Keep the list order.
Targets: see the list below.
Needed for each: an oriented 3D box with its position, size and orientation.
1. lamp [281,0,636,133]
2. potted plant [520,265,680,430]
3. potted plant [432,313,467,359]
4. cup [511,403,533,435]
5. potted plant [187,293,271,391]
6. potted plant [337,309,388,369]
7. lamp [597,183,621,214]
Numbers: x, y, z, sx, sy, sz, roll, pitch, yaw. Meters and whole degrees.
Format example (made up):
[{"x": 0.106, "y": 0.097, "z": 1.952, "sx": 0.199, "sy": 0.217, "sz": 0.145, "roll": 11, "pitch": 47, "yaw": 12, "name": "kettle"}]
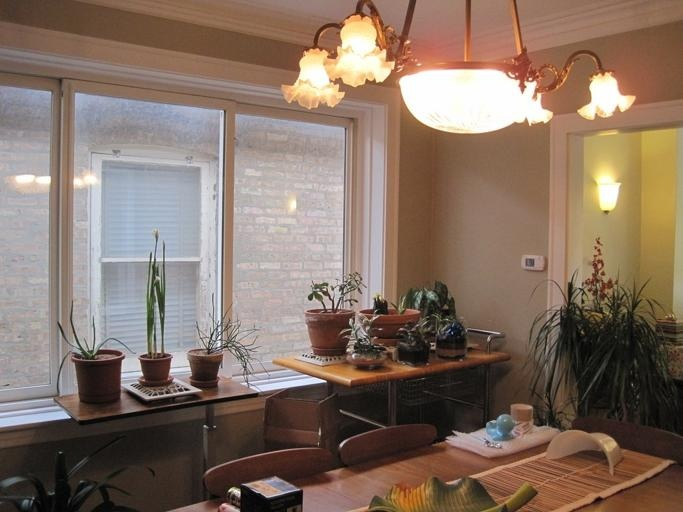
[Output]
[{"x": 0.666, "y": -1.004, "z": 2.640, "sx": 1.191, "sy": 0.535, "sz": 1.270, "roll": 4, "pitch": 5, "yaw": 32, "name": "lamp"}, {"x": 1.601, "y": 0.620, "z": 3.321, "sx": 1.113, "sy": 1.189, "sz": 0.895, "roll": -1, "pitch": -4, "yaw": 16, "name": "potted plant"}, {"x": 0.652, "y": 0.513, "z": 3.303, "sx": 0.219, "sy": 0.247, "sz": 0.223, "roll": 1, "pitch": -7, "yaw": -2, "name": "potted plant"}, {"x": 0.794, "y": 0.710, "z": 2.305, "sx": 0.115, "sy": 0.126, "sz": 0.116, "roll": 2, "pitch": -3, "yaw": 0, "name": "cup"}, {"x": -0.732, "y": 0.499, "z": 3.271, "sx": 0.502, "sy": 0.654, "sz": 0.555, "roll": 1, "pitch": -1, "yaw": -37, "name": "potted plant"}, {"x": 0.161, "y": 0.514, "z": 3.165, "sx": 0.274, "sy": 0.368, "sz": 0.280, "roll": 3, "pitch": -7, "yaw": -38, "name": "potted plant"}, {"x": 2.577, "y": -0.553, "z": 5.018, "sx": 0.262, "sy": 0.346, "sz": 0.272, "roll": 1, "pitch": -3, "yaw": 34, "name": "lamp"}]
